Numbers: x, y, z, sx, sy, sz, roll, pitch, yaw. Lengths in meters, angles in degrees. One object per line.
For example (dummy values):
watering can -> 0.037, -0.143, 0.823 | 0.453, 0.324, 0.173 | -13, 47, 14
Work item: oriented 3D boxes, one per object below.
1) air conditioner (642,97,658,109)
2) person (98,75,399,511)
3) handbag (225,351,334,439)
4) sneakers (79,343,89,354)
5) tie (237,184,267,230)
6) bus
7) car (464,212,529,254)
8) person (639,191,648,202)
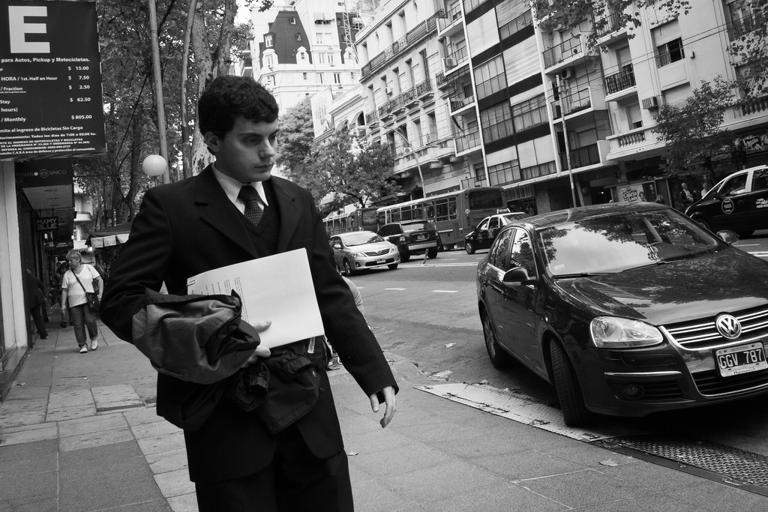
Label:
air conditioner -> 16.226, -9.418, 31.202 | 0.570, 0.656, 1.031 | 2, -4, -10
person -> -0.517, 0.138, 1.983 | 1.034, 1.631, 0.389 | -4, 0, -25
handbag -> -0.383, 0.484, 1.856 | 0.312, 0.262, 0.129 | -26, 12, -28
sneakers -> -7.192, 2.215, 12.222 | 0.121, 0.150, 0.356 | 1, -6, -15
tie -> -0.520, -0.195, 2.022 | 0.104, 0.164, 0.041 | -19, -1, -25
bus -> 3.346, -2.657, 38.645 | 3.619, 3.825, 12.439 | -7, 5, -29
car -> 6.156, -1.279, 27.538 | 2.189, 1.872, 4.208 | -4, 1, -29
person -> 16.619, -4.006, 32.925 | 0.466, 0.671, 0.763 | -4, 0, 24
